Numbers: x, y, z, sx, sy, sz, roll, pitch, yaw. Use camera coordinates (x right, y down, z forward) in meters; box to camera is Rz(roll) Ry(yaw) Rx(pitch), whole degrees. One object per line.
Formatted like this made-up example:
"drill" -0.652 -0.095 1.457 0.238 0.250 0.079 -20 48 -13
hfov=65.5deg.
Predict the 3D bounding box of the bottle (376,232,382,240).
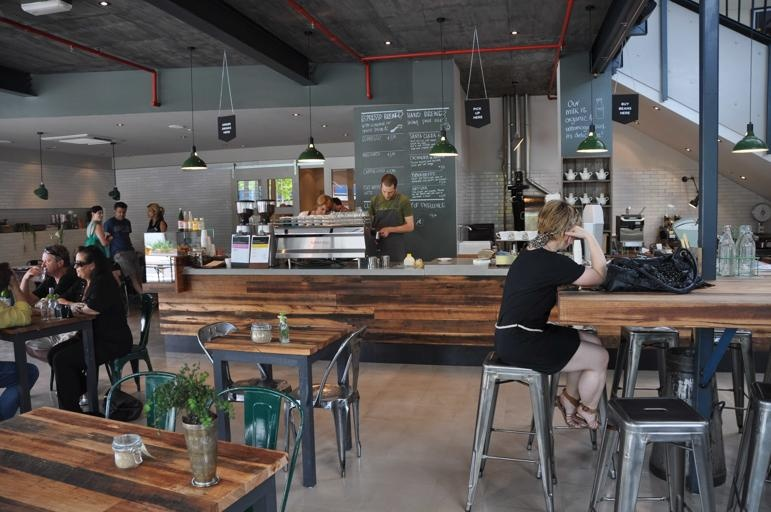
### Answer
"bottle" -0.080 -0.272 7.903 0.072 0.097 0.102 -1 -14 5

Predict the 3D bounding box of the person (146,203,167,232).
"person" -3.989 -0.680 10.390 0.265 0.468 0.890 -5 6 -22

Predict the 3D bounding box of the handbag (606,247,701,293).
"handbag" 1.984 0.124 4.415 0.455 0.150 0.434 -1 9 18

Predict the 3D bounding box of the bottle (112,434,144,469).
"bottle" -1.564 1.183 3.693 0.211 0.143 0.174 7 6 30

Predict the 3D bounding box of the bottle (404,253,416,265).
"bottle" 0.289 0.034 7.155 0.156 0.144 0.145 3 0 4

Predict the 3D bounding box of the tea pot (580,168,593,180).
"tea pot" 3.501 -1.424 10.448 0.241 0.220 0.152 2 2 22

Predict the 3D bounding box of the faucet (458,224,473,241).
"faucet" 1.345 -0.401 10.078 0.206 0.289 0.912 -2 5 9

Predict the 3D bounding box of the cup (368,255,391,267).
"cup" -0.075 0.059 7.152 0.235 0.150 0.125 -5 7 -23

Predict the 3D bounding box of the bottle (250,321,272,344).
"bottle" -1.071 0.654 5.125 0.174 0.153 0.169 0 -2 -2

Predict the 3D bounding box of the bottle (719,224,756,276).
"bottle" 2.969 -0.050 5.039 0.295 0.411 0.351 1 6 28

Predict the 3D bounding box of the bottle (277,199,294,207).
"bottle" -2.229 -1.187 13.386 0.365 0.143 0.063 0 6 22

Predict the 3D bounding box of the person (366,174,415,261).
"person" 0.067 -0.492 7.943 0.589 1.190 1.015 -2 5 2

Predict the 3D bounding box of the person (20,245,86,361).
"person" -3.640 0.539 6.616 0.763 1.248 0.561 -16 14 -42

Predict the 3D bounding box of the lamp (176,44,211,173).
"lamp" -2.889 -2.213 8.959 0.472 1.751 0.419 0 17 -11

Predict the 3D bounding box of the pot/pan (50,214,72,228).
"pot/pan" -7.292 -0.780 13.385 0.171 0.290 0.336 -9 -4 41

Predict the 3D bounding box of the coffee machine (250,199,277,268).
"coffee machine" -1.566 -0.296 7.587 0.326 0.825 0.483 -4 6 -11

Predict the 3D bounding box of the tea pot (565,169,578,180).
"tea pot" 3.260 -1.433 10.534 0.214 0.206 0.173 -7 7 -43

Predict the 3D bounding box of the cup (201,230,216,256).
"cup" -2.388 -0.184 8.082 0.180 0.340 0.274 -2 5 3

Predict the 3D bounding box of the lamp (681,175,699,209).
"lamp" 5.548 -1.174 10.894 0.250 0.593 0.665 0 6 22

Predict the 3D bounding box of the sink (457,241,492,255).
"sink" 1.405 -0.120 9.205 0.365 0.206 0.836 -6 6 -32

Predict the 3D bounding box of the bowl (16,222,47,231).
"bowl" -7.527 -0.617 12.698 0.297 0.180 0.676 -3 5 -4

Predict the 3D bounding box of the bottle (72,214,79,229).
"bottle" -7.093 -0.817 13.654 0.223 0.349 0.389 -5 6 -27

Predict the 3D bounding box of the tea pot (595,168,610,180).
"tea pot" 3.804 -1.436 10.493 0.243 0.198 0.169 2 2 17
